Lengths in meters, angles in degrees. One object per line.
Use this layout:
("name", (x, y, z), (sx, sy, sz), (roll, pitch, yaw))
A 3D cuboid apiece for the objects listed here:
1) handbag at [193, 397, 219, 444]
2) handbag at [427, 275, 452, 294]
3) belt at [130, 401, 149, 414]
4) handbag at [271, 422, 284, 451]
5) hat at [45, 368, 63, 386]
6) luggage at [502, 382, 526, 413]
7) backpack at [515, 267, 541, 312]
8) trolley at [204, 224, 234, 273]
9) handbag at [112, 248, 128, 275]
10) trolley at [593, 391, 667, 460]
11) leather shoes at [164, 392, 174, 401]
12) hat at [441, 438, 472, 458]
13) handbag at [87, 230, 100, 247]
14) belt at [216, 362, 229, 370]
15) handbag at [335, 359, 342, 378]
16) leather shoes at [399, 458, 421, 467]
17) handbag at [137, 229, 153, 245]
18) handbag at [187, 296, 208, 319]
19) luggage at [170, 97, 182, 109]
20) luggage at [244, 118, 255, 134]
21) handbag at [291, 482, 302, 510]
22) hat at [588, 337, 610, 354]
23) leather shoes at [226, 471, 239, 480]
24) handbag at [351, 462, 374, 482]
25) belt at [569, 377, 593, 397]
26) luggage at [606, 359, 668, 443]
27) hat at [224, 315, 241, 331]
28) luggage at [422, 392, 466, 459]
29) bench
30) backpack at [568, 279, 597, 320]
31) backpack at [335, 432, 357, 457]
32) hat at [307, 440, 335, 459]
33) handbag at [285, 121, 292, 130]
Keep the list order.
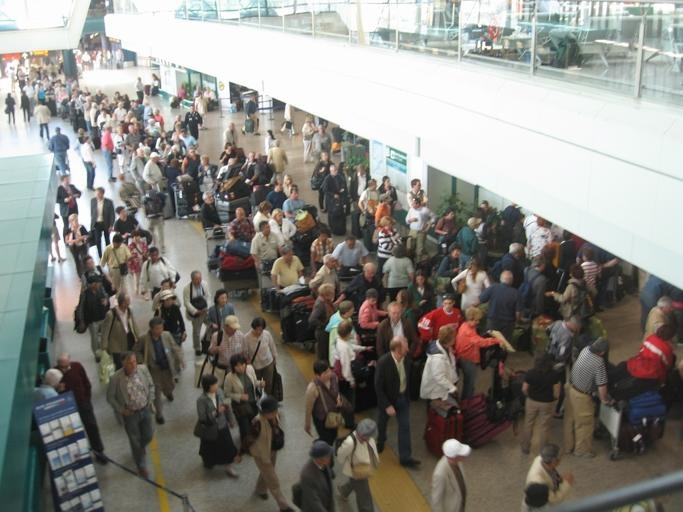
("handbag", (-1.783, 2.157, 8.182), (0.275, 0.560, 0.418), (-8, -2, 23))
("handbag", (1.737, 0.497, 10.493), (0.304, 0.328, 0.314), (0, 4, -2))
("belt", (-2.719, 2.049, 8.138), (0.120, 0.099, 0.160), (-5, -21, -31))
("handbag", (-0.759, 2.235, 7.462), (0.103, 0.307, 0.214), (2, -6, -4))
("hat", (-3.820, 1.611, 8.004), (0.209, 0.281, 0.222), (10, 44, -19))
("luggage", (2.585, 2.110, 8.992), (0.335, 0.469, 0.142), (-15, -29, 41))
("backpack", (3.319, 0.546, 10.548), (0.468, 0.764, 0.406), (20, 28, 30))
("trolley", (-2.725, -0.145, 13.437), (0.633, 1.155, 0.778), (-11, 30, -24))
("handbag", (-4.414, 0.123, 12.020), (0.152, 0.473, 0.260), (1, 7, -7))
("trolley", (4.160, 2.357, 8.758), (0.807, 0.779, 0.654), (-9, 8, -7))
("leather shoes", (-2.814, 2.284, 9.791), (0.164, 0.079, 0.164), (22, -17, 4))
("hat", (1.266, 2.136, 6.693), (0.264, 0.122, 0.198), (-4, 54, 17))
("handbag", (-5.603, -0.384, 13.690), (0.273, 0.280, 0.485), (-11, -6, -23))
("belt", (-1.733, 1.615, 8.811), (0.098, 0.078, 0.104), (8, 6, 17))
("handbag", (-0.047, 1.634, 8.770), (0.107, 0.331, 0.218), (-2, 11, -2))
("leather shoes", (0.974, 2.908, 8.480), (0.299, 0.138, 0.129), (-1, 30, 7))
("handbag", (-4.149, -0.434, 12.766), (0.204, 0.400, 0.161), (-33, 5, -23))
("handbag", (-2.495, 0.871, 10.521), (0.259, 0.378, 0.127), (12, 14, -21))
("luggage", (-9.744, -9.028, 35.668), (0.461, 0.376, 0.685), (19, 39, -8))
("luggage", (-4.329, -6.116, 28.532), (0.538, 0.770, 0.409), (7, 36, 7))
("handbag", (-0.512, 2.781, 6.994), (0.105, 0.406, 0.301), (-2, 11, -6))
("hat", (3.513, 1.228, 8.205), (0.227, 0.233, 0.260), (3, 12, 21))
("leather shoes", (-1.520, 3.035, 8.432), (0.214, 0.100, 0.100), (5, 13, 29))
("handbag", (0.248, 2.536, 7.140), (0.232, 0.188, 0.048), (-2, 11, -2))
("belt", (3.312, 1.721, 8.303), (0.188, 0.241, 0.319), (-11, 19, -23))
("luggage", (4.205, 2.070, 8.277), (1.022, 0.876, 0.461), (-3, -3, 0))
("hat", (-1.589, 0.997, 8.782), (0.177, 0.273, 0.345), (-2, 11, -5))
("luggage", (1.471, 2.520, 8.696), (0.399, 0.736, 0.438), (-6, 19, -28))
("bench", (2.803, -2.617, 7.736), (0.367, 0.471, 1.160), (-24, 30, -26))
("backpack", (4.145, 0.857, 10.171), (0.471, 0.408, 0.713), (-1, 46, 18))
("backpack", (0.091, 2.229, 7.141), (0.255, 0.294, 0.168), (-2, 11, -2))
("hat", (-0.218, 2.137, 6.717), (0.210, 0.206, 0.199), (0, 32, 7))
("handbag", (-2.463, -6.072, 28.019), (0.061, 0.259, 0.263), (10, 11, 43))
